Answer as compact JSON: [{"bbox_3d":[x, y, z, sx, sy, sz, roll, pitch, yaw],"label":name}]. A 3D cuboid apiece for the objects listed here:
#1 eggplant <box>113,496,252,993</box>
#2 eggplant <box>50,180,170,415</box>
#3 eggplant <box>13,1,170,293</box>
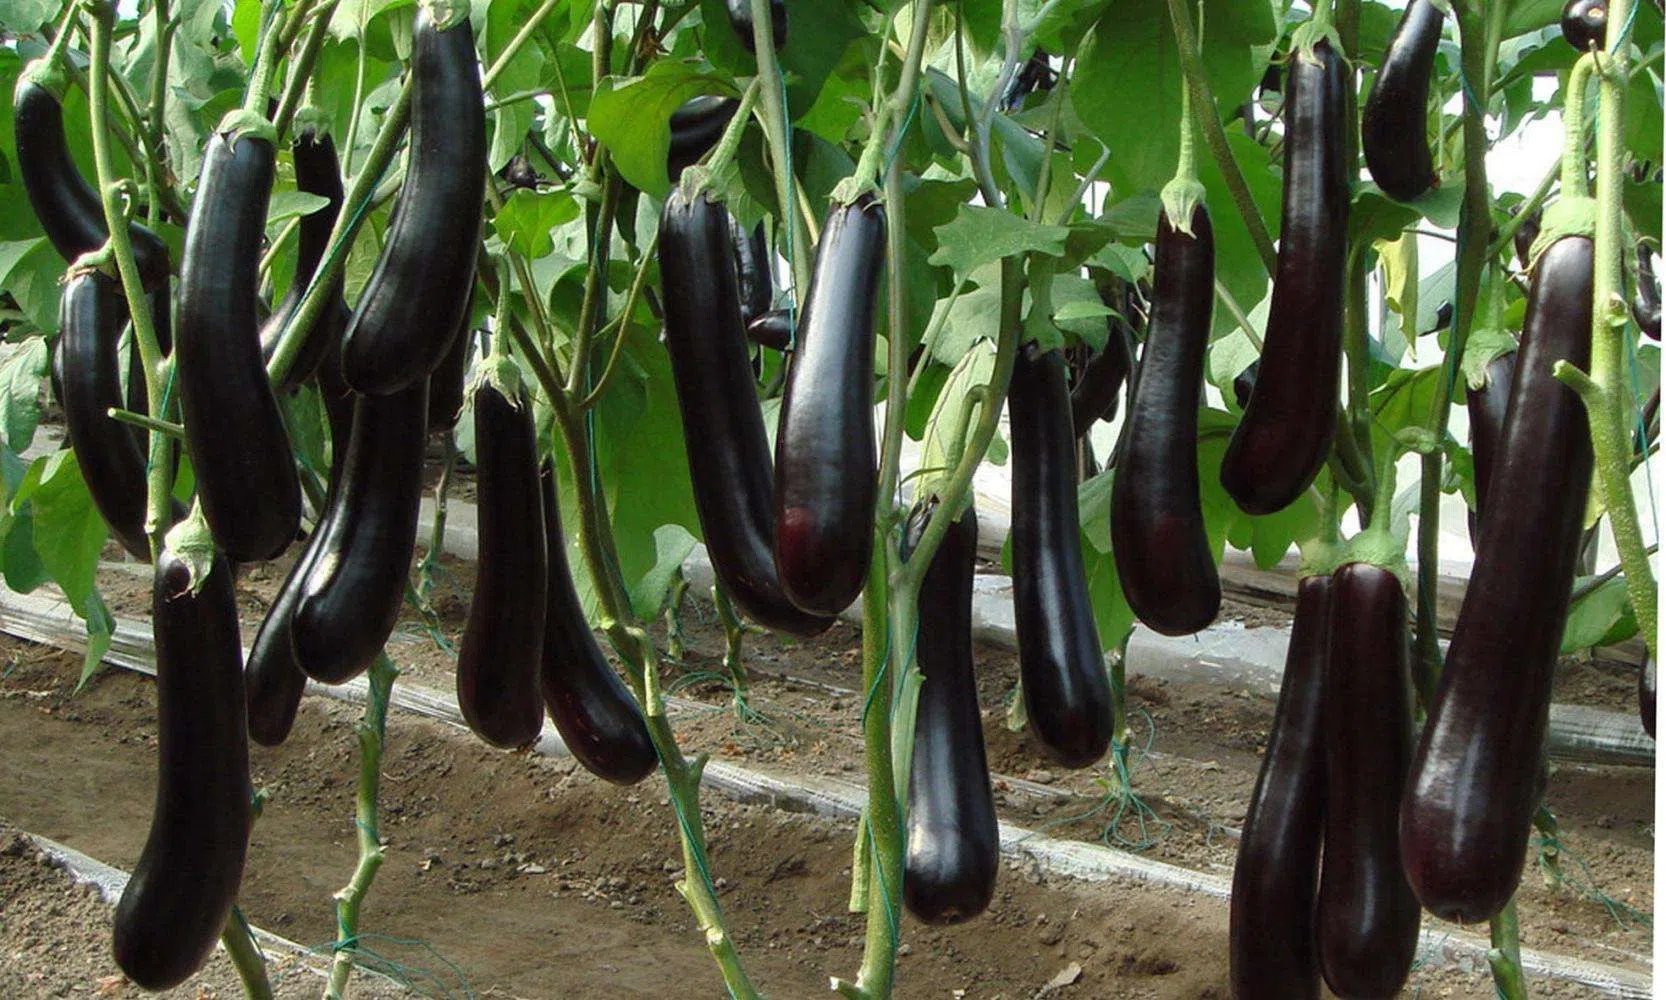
[{"bbox_3d":[-0.558,0.212,1.323,0.110,0.423,0.115,3,-1,14],"label":"eggplant"},{"bbox_3d":[-0.674,-0.190,1.365,0.072,0.280,0.086,5,2,-28],"label":"eggplant"},{"bbox_3d":[-0.688,-0.318,1.351,0.099,0.262,0.067,-5,7,-13],"label":"eggplant"}]
